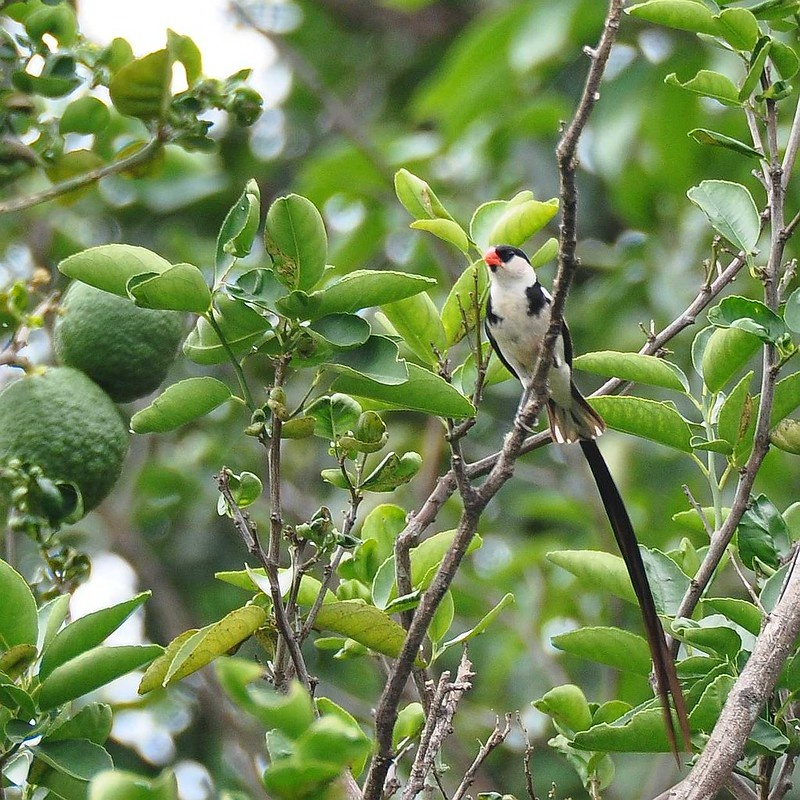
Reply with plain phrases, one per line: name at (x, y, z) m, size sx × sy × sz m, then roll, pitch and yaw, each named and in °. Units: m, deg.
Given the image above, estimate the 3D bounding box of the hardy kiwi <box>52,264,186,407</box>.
hardy kiwi at (-0.580, -0.109, 3.102) m, size 0.279 × 0.299 × 0.256 m, roll 2°, pitch -27°, yaw -8°
